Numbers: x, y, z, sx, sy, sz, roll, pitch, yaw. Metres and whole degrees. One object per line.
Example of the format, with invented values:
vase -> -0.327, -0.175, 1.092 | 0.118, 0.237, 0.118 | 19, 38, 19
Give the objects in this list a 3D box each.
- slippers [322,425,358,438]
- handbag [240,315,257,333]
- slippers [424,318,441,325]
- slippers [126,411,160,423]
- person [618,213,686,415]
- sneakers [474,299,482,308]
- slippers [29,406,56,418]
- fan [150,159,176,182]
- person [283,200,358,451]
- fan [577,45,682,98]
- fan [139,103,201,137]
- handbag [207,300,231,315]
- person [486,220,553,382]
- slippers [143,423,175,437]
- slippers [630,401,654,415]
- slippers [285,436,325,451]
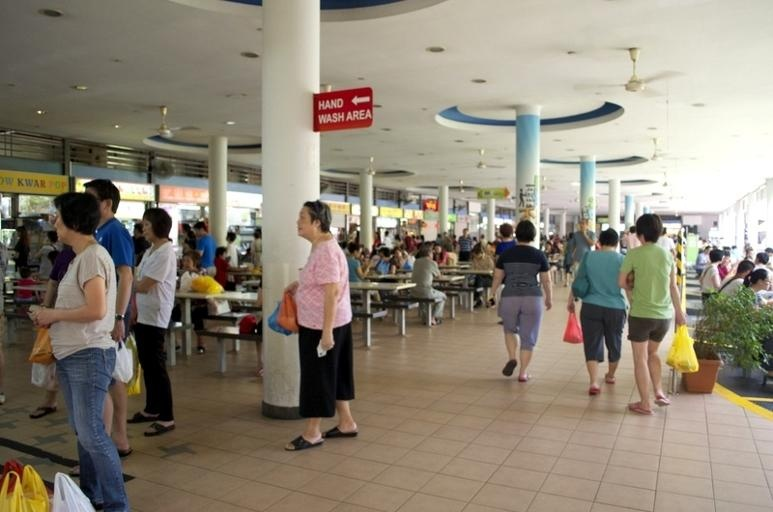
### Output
slippers -> -0.501, 1.850, 6.106 | 0.345, 0.098, 0.120 | 3, -8, -8
handbag -> -1.956, 0.969, 8.221 | 0.204, 0.257, 0.274 | 13, 1, 10
slippers -> 0.922, 1.343, 11.723 | 0.124, 0.141, 0.370 | 2, 3, 33
slippers -> -2.679, 1.765, 6.432 | 0.400, 0.124, 0.142 | 3, -4, -14
person -> 3.038, 0.659, 6.678 | 0.643, 2.272, 0.424 | -3, 9, -20
sneakers -> 2.297, 1.199, 14.499 | 0.162, 0.153, 0.277 | -2, -12, 15
slippers -> -3.959, 1.798, 6.642 | 0.226, 0.080, 0.087 | 4, -5, -39
fan -> -6.470, -2.601, 16.773 | 0.818, 0.351, 0.912 | 2, -2, -22
person -> -0.665, 0.698, 5.760 | 0.744, 2.465, 0.574 | -5, 10, -29
fan -> 4.371, -3.228, 10.272 | 0.901, 0.353, 0.907 | -1, 5, -20
fan -> -5.243, -3.194, 13.860 | 0.936, 0.374, 0.842 | 0, 2, -8
handbag -> -2.685, 0.828, 9.360 | 0.091, 0.346, 0.399 | 1, 0, 43
person -> 1.789, 0.600, 7.709 | 0.743, 2.173, 0.423 | 1, 9, 11
slippers -> -2.416, 1.833, 6.137 | 0.223, 0.069, 0.112 | 3, -2, -44
slippers -> 2.949, 1.761, 6.668 | 0.227, 0.089, 0.130 | 6, 7, 45
slippers -> -0.855, 1.884, 5.858 | 0.340, 0.096, 0.129 | 2, -6, -21
